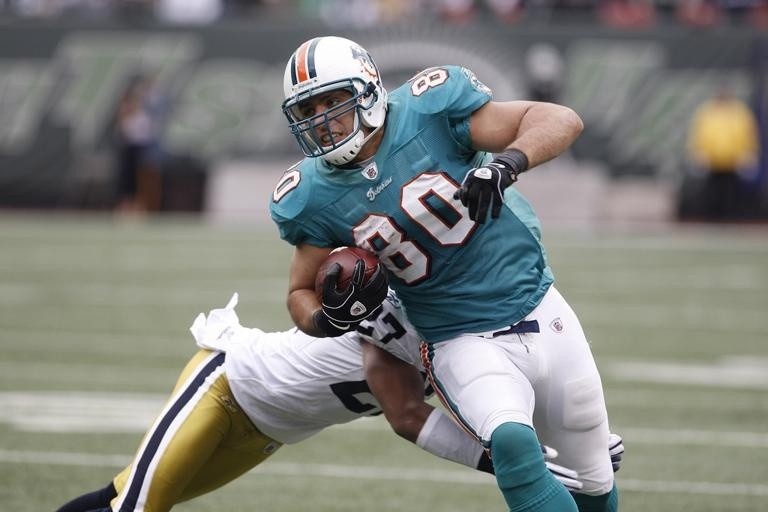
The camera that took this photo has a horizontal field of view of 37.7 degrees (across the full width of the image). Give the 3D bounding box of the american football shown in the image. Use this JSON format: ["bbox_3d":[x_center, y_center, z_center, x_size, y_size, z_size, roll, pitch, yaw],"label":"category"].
[{"bbox_3d":[-0.248,0.082,7.619,0.322,0.385,0.306,47,14,9],"label":"american football"}]

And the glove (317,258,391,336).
[{"bbox_3d":[-0.189,0.307,7.601,0.380,0.515,0.202,41,-2,21],"label":"glove"}]

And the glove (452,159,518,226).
[{"bbox_3d":[0.654,-0.401,7.353,0.357,0.444,0.292,7,23,20],"label":"glove"}]
